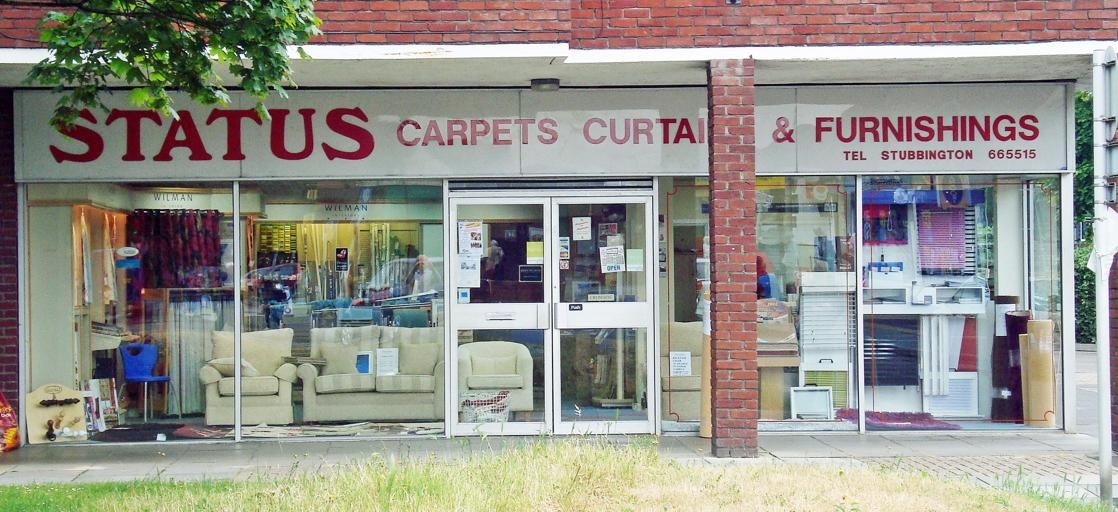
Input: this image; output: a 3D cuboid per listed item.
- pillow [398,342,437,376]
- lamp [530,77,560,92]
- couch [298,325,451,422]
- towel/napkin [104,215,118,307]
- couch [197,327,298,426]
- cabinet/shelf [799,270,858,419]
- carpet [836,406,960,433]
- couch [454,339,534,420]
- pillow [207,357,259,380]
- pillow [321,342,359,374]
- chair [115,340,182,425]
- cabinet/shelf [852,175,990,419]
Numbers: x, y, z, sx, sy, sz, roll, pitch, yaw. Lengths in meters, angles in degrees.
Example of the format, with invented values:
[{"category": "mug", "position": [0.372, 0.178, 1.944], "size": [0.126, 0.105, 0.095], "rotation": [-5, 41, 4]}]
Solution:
[{"category": "pillow", "position": [-2.667, 1.976, 23.234], "size": [0.723, 0.471, 0.286], "rotation": [2, -33, 5]}, {"category": "lamp", "position": [-0.251, -3.206, 22.864], "size": [0.536, 0.258, 0.258], "rotation": [-1, 12, -2]}, {"category": "couch", "position": [-3.480, 2.230, 23.517], "size": [3.013, 1.466, 1.149], "rotation": [0, 14, -1]}, {"category": "towel/napkin", "position": [-8.556, 0.063, 23.176], "size": [0.263, 1.635, 0.295], "rotation": [-3, 14, -8]}, {"category": "couch", "position": [-5.944, 2.258, 23.452], "size": [1.916, 1.605, 1.077], "rotation": [0, 8, -11]}, {"category": "cabinet/shelf", "position": [5.188, 1.674, 23.743], "size": [1.162, 2.686, 0.895], "rotation": [0, 0, -6]}, {"category": "carpet", "position": [6.544, 3.112, 23.403], "size": [2.362, 0.427, 0.227], "rotation": [0, 13, -1]}, {"category": "couch", "position": [-1.251, 2.386, 23.717], "size": [1.347, 1.542, 1.550], "rotation": [-1, -2, 2]}, {"category": "pillow", "position": [-6.180, 2.117, 23.141], "size": [0.573, 0.191, 0.562], "rotation": [15, 13, 33]}, {"category": "pillow", "position": [-4.193, 1.949, 23.264], "size": [0.750, 0.545, 0.202], "rotation": [2, -5, -2]}, {"category": "chair", "position": [-7.952, 2.368, 23.616], "size": [0.973, 1.408, 0.864], "rotation": [0, -3, 2]}, {"category": "cabinet/shelf", "position": [6.575, 0.895, 24.453], "size": [3.315, 4.375, 2.465], "rotation": [-1, 1, -16]}]
